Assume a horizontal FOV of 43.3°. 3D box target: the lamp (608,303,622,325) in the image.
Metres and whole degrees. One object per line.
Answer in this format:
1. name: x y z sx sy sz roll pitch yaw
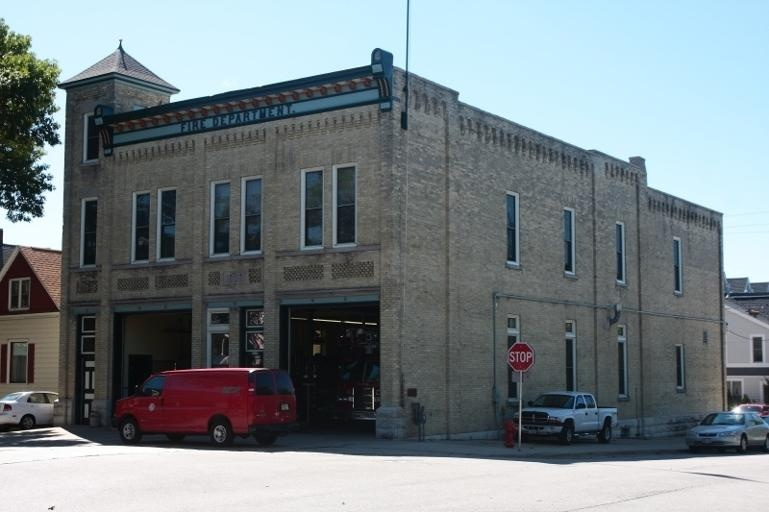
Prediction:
1. lamp: 11.743 3.038 49.735 0.645 1.082 0.517 -1 -4 11

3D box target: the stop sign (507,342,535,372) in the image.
1. stop sign: 5.158 3.900 36.887 0.701 1.109 0.965 2 -4 -16

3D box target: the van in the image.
1. van: -6.926 5.758 37.203 7.190 2.408 3.225 -6 -9 33
